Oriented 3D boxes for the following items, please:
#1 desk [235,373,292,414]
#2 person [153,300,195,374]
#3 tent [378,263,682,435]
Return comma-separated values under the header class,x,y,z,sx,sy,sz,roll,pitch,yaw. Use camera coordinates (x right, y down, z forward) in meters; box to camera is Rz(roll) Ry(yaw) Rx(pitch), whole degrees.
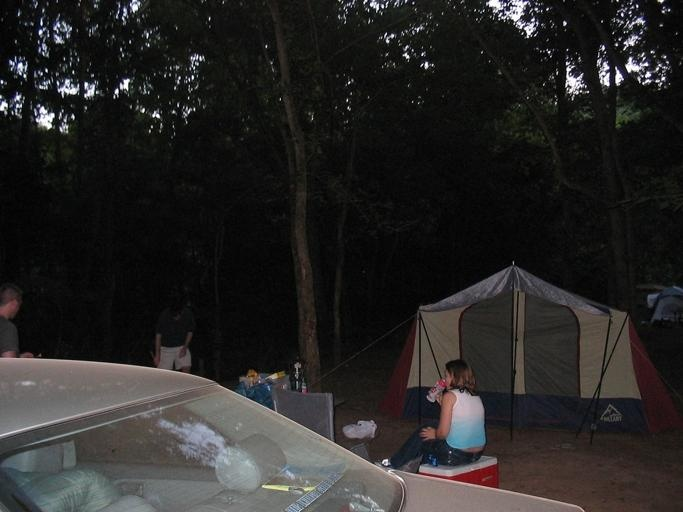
class,x,y,z,sx,sy,sz,roll,pitch,yaw
desk,-0.922,1.552,6.747,0.661,0.278,0.519,5,5,27
person,-2.687,1.478,9.048,0.581,1.977,0.595,-3,34,-21
tent,2.873,1.541,8.614,2.697,1.566,2.919,0,-3,23
